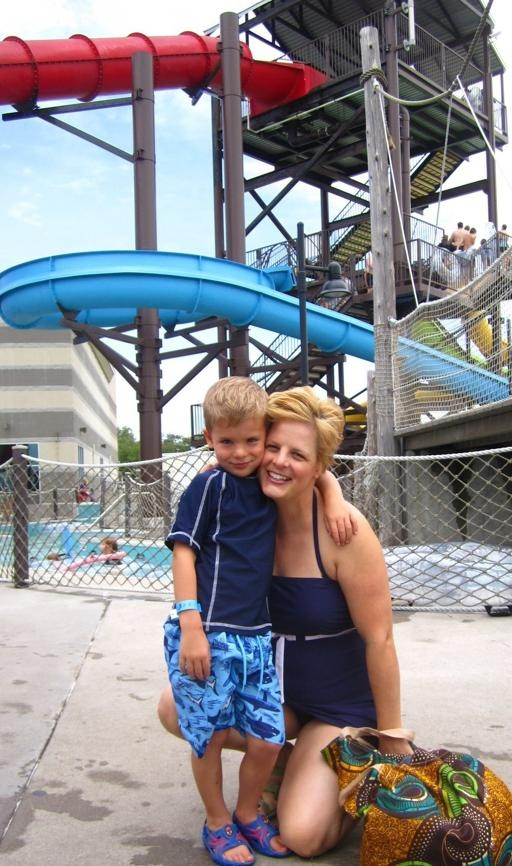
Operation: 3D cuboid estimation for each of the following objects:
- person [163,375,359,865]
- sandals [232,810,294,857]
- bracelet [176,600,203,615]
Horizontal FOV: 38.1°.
[{"bbox_3d":[-0.078,0.443,1.869,0.298,1.194,0.249,-2,-2,-13],"label":"person"},{"bbox_3d":[0.023,0.984,1.842,0.065,0.056,0.137,0,0,-44],"label":"sandals"},{"bbox_3d":[-0.162,0.419,1.783,0.061,0.039,0.054,-3,-2,-7],"label":"bracelet"}]
